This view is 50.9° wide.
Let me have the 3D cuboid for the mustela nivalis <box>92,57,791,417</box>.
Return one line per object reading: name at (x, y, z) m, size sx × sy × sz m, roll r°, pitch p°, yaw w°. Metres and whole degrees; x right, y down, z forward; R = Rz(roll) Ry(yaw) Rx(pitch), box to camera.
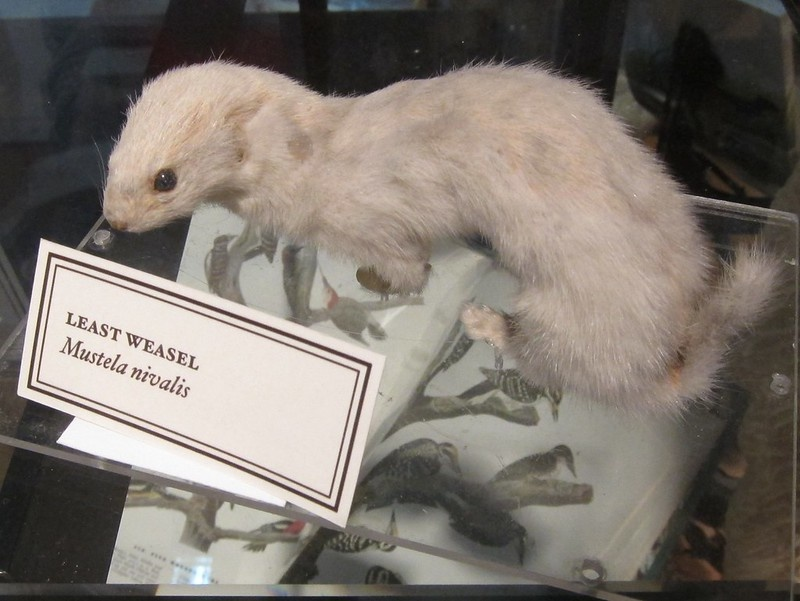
mustela nivalis at (0.033, -0.098, 1.001) m, size 0.723 × 0.337 × 0.267 m, roll 8°, pitch 26°, yaw 8°
